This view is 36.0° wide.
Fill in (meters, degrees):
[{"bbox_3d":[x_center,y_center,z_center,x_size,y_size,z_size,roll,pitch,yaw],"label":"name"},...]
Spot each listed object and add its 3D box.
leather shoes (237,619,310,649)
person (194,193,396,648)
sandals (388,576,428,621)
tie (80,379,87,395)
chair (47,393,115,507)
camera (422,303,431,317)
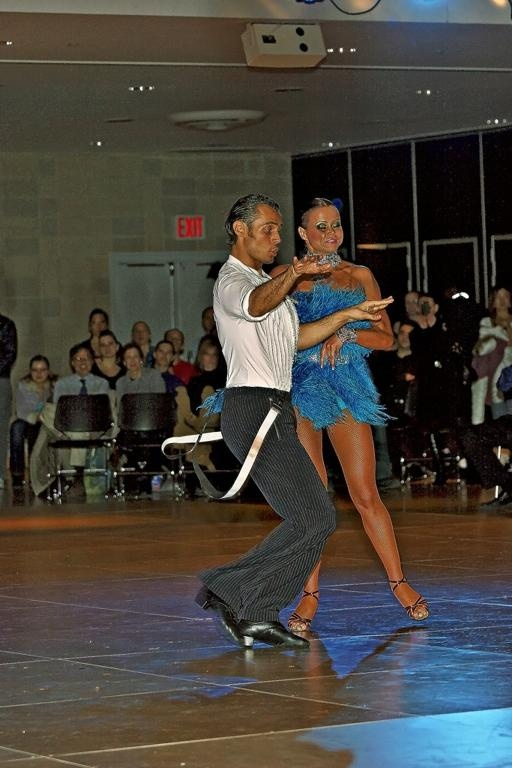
[{"bbox_3d":[0.057,0.826,2.591,0.282,0.093,0.085,5,-10,-1],"label":"leather shoes"},{"bbox_3d":[0.118,0.131,2.523,0.458,1.537,0.652,-2,-2,-27],"label":"person"},{"bbox_3d":[0.594,0.852,3.095,0.095,0.226,0.060,-37,-48,0],"label":"sandals"},{"bbox_3d":[-1.670,0.040,7.650,0.105,0.118,0.033,3,7,-11],"label":"tie"},{"bbox_3d":[-1.609,0.587,7.343,0.715,0.884,0.704,-2,4,-23],"label":"chair"},{"bbox_3d":[1.845,-0.806,8.532,0.107,0.117,0.035,6,-8,1],"label":"camera"}]
